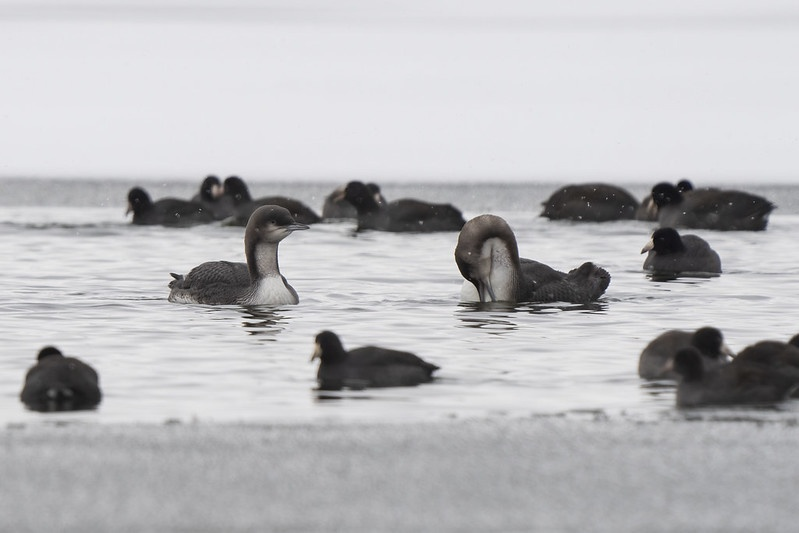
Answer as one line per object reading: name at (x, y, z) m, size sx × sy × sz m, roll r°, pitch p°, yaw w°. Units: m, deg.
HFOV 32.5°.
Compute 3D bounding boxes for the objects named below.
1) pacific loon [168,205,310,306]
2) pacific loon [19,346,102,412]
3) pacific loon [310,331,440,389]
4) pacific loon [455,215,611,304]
pacific loon at (-2.162, -0.075, 20.168) m, size 2.226 × 1.294 × 1.282 m, roll 1°, pitch 2°, yaw 31°
pacific loon at (-3.650, 1.145, 14.861) m, size 0.872 × 0.988 × 0.315 m, roll 1°, pitch 48°, yaw -1°
pacific loon at (-0.297, 1.016, 15.505) m, size 1.370 × 0.597 × 0.506 m, roll -1°, pitch 8°, yaw -2°
pacific loon at (1.845, -0.128, 20.064) m, size 2.019 × 1.229 × 0.673 m, roll 0°, pitch 8°, yaw 2°
